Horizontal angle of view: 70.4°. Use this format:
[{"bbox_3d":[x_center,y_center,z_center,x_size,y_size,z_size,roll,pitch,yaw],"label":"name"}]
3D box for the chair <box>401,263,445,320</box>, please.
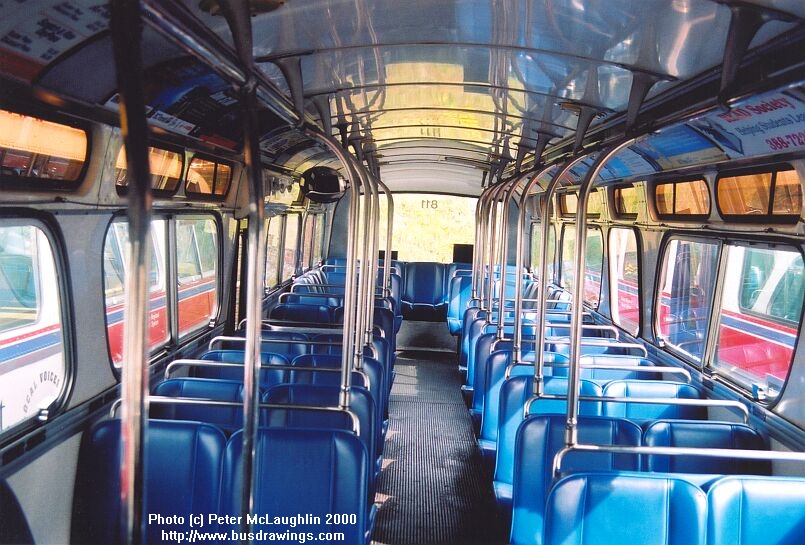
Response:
[{"bbox_3d":[0.459,0.294,12.248,1.113,1.277,1.105,-3,-8,29],"label":"chair"}]
